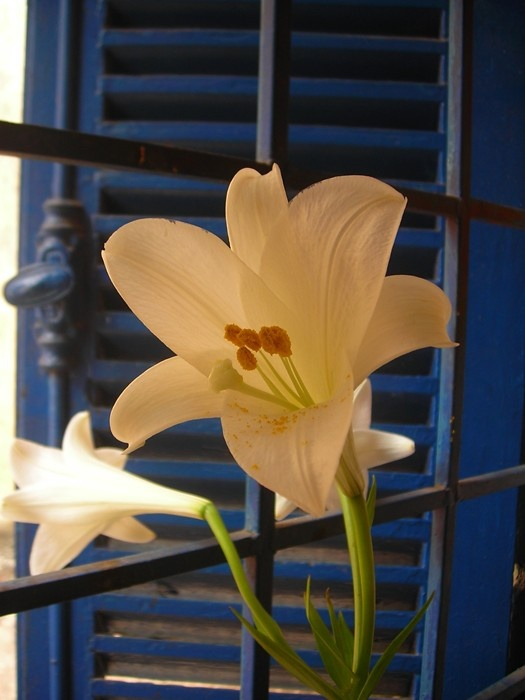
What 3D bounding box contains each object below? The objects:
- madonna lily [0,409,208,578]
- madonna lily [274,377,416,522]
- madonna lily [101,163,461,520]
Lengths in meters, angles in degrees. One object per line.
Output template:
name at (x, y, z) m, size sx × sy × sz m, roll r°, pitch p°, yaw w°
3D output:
madonna lily at (-0.271, 0.224, 1.721) m, size 0.377 × 0.216 × 0.183 m, roll 11°, pitch -53°, yaw -7°
madonna lily at (0.157, 0.158, 1.699) m, size 0.091 × 0.212 × 0.215 m, roll 19°, pitch -4°, yaw -7°
madonna lily at (0.072, -0.042, 1.729) m, size 0.617 × 0.353 × 0.466 m, roll 11°, pitch -79°, yaw 22°
